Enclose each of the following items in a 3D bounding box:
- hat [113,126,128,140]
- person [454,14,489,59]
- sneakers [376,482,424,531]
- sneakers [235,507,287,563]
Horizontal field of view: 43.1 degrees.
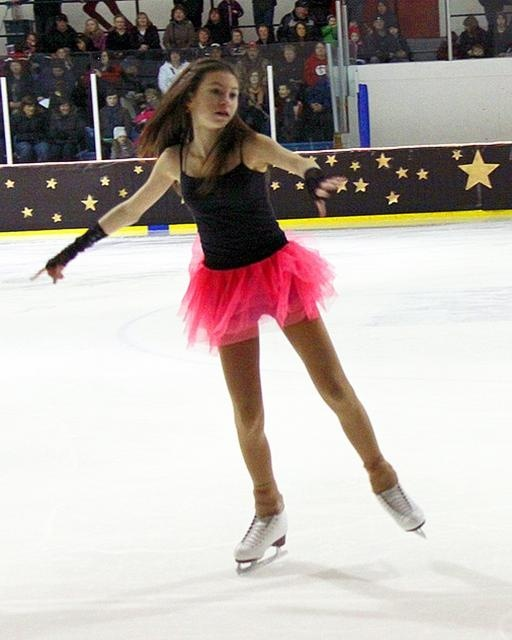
[{"bbox_3d":[-2.036,-2.783,9.693,0.181,0.146,0.203,-7,-10,-10],"label":"hat"},{"bbox_3d":[3.727,-4.880,11.184,0.557,0.390,0.721,-8,-21,16],"label":"person"},{"bbox_3d":[0.338,0.442,1.606,0.058,0.075,0.155,-43,41,-8],"label":"sneakers"},{"bbox_3d":[0.015,0.528,1.603,0.067,0.081,0.192,-7,-1,34],"label":"sneakers"}]
